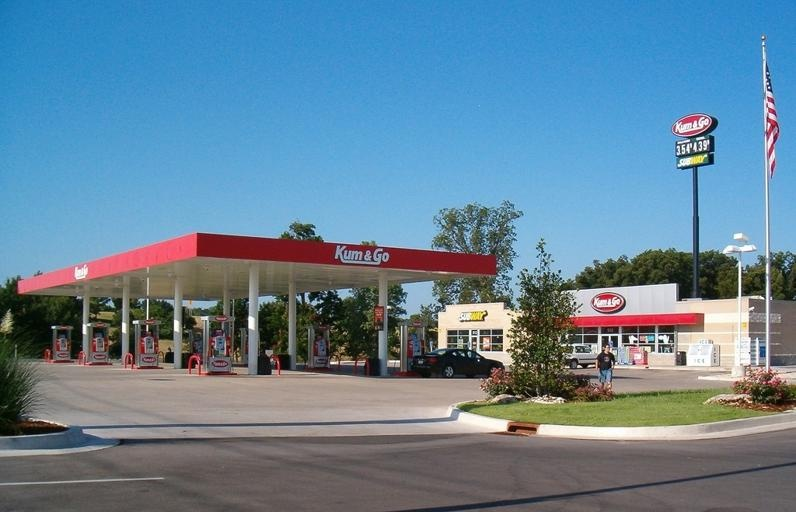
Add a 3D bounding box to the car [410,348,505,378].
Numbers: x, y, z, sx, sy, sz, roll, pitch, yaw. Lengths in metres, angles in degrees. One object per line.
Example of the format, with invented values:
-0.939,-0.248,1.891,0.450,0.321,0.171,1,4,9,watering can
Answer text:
3.061,5.571,41.863,4.210,1.331,1.873,-1,-4,-16,car
